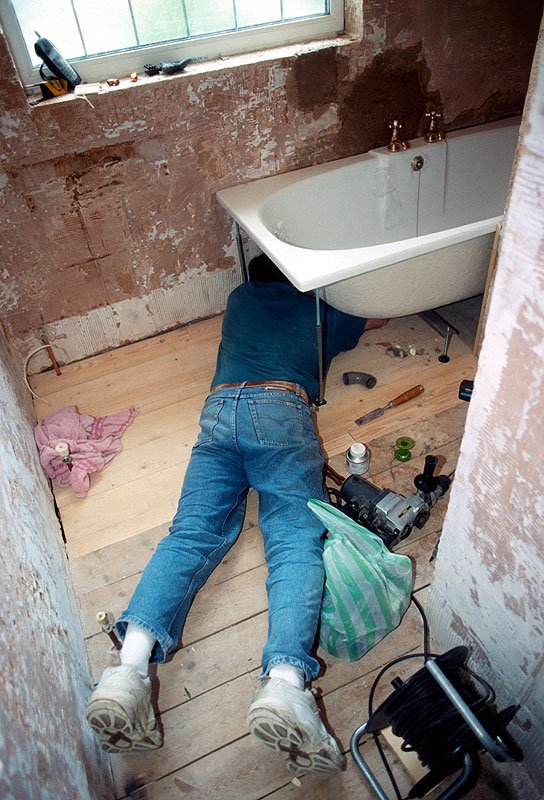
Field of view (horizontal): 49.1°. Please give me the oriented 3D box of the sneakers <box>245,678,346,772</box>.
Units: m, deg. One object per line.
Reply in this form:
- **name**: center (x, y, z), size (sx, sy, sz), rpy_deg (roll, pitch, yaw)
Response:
- **sneakers**: center (0.058, 0.676, 1.206), size (0.103, 0.272, 0.132), rpy_deg (-27, 24, 17)

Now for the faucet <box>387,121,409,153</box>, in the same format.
- **faucet**: center (0.507, -1.072, 2.419), size (0.079, 0.133, 0.132), rpy_deg (12, 59, 18)

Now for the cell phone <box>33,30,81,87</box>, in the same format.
- **cell phone**: center (-0.687, -1.068, 1.930), size (0.072, 0.187, 0.114), rpy_deg (-16, 43, 28)

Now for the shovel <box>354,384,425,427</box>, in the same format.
- **shovel**: center (0.424, 0.023, 2.120), size (0.235, 0.039, 0.046), rpy_deg (-28, 27, -22)

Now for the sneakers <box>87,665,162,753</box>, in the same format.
- **sneakers**: center (-0.312, 0.628, 1.213), size (0.131, 0.220, 0.118), rpy_deg (-9, 37, -2)

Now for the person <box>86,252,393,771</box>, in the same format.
- **person**: center (-0.029, 0.156, 1.758), size (0.466, 0.359, 1.564), rpy_deg (8, 45, 2)
